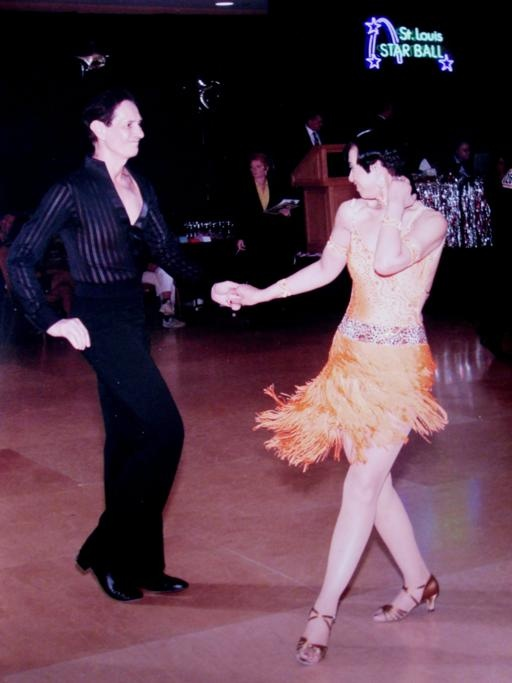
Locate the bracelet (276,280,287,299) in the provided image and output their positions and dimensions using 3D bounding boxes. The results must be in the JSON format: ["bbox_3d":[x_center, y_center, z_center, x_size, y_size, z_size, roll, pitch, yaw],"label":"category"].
[{"bbox_3d":[0.079,-0.152,1.873,0.028,0.036,0.046,-8,53,4],"label":"bracelet"}]

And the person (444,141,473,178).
[{"bbox_3d":[2.945,-2.602,9.281,0.437,0.573,0.791,-3,19,21],"label":"person"}]

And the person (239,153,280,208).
[{"bbox_3d":[0.046,-1.879,7.686,0.460,0.668,0.346,-7,12,1],"label":"person"}]

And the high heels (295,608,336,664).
[{"bbox_3d":[0.156,0.710,1.556,0.060,0.067,0.159,7,40,17],"label":"high heels"}]

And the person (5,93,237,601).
[{"bbox_3d":[-0.395,0.046,1.995,0.383,1.538,0.548,8,24,37],"label":"person"}]

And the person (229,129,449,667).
[{"bbox_3d":[0.261,0.151,1.680,0.522,1.281,0.674,-7,18,-1],"label":"person"}]

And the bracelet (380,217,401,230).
[{"bbox_3d":[0.315,-0.270,1.482,0.039,0.027,0.027,-2,18,12],"label":"bracelet"}]
